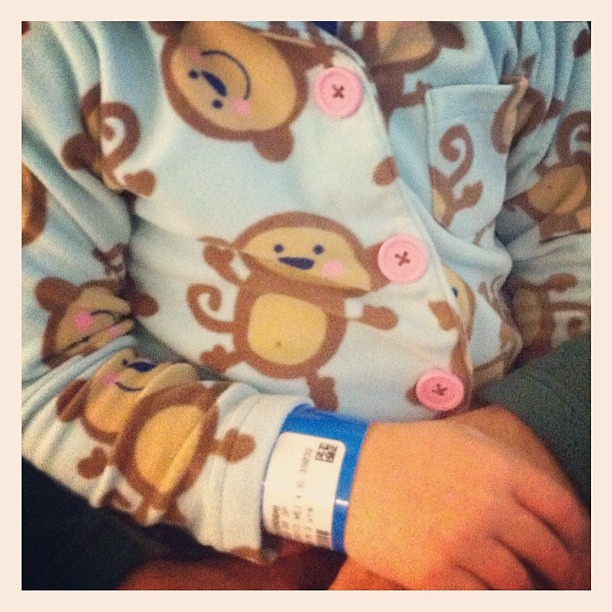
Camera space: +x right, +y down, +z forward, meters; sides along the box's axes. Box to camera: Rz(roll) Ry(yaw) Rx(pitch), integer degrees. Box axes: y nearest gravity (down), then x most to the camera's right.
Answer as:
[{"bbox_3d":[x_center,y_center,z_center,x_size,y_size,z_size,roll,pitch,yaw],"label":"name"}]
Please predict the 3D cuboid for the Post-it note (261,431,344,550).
[{"bbox_3d":[-0.002,0.139,0.509,0.050,0.062,0.085,4,92,23],"label":"Post-it note"}]
